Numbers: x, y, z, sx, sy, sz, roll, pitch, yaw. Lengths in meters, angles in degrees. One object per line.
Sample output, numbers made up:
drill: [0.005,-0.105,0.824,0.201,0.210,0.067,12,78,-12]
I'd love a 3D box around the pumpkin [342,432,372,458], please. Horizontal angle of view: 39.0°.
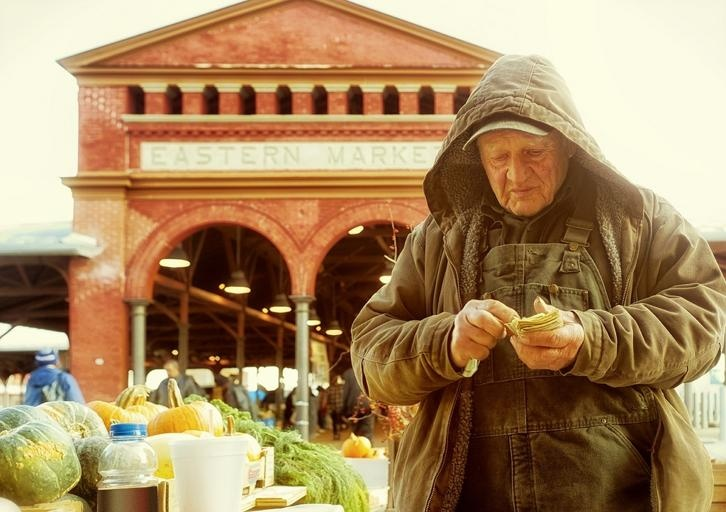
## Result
pumpkin: [-0.055,2.042,11.174,0.250,0.250,0.253,-3,-6,-23]

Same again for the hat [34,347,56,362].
hat: [-3.846,1.192,12.501,0.160,0.208,0.226,8,23,42]
